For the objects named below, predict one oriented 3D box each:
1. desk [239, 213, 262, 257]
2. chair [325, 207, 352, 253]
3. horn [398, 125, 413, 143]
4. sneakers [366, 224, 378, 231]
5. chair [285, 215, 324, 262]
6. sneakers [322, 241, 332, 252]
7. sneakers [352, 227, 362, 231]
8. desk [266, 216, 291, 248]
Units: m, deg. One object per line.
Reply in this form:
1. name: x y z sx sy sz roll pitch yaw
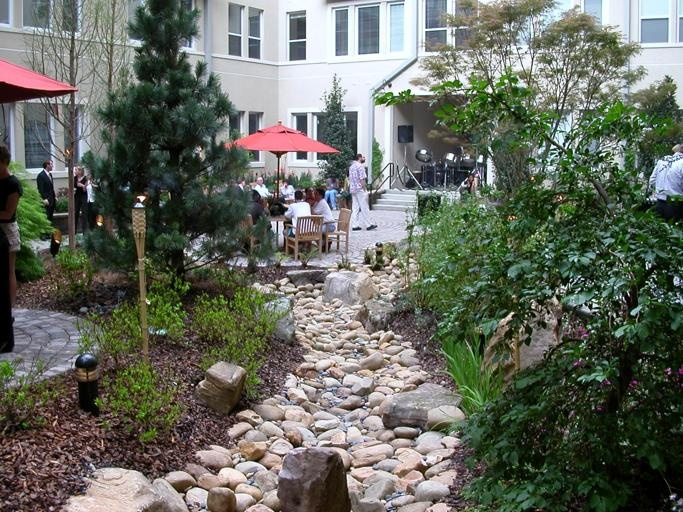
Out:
1. desk: -1.203 -0.312 8.415 0.231 0.650 1.737 -7 11 -7
2. chair: -0.152 -0.483 12.623 0.592 0.883 0.657 -4 10 -43
3. horn: 2.326 -4.428 23.382 0.529 0.631 0.142 -3 6 -17
4. sneakers: 0.772 -0.737 16.433 0.290 0.129 0.150 -13 -26 -17
5. chair: -0.607 -0.394 11.774 0.516 0.770 0.524 -5 12 -21
6. sneakers: -0.279 -0.230 12.388 0.134 0.224 0.282 -1 7 0
7. sneakers: 0.386 -0.695 16.197 0.185 0.099 0.073 5 18 29
8. desk: -1.051 -0.416 10.985 0.281 0.330 0.599 -2 15 -5
